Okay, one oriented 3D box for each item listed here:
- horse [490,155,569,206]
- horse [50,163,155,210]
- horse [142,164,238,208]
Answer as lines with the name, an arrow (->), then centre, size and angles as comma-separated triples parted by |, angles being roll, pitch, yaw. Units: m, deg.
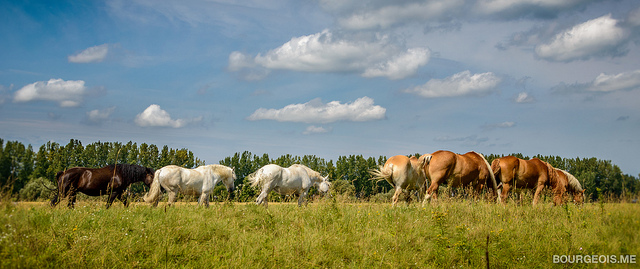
horse -> 19.582, 4.598, 47.916 | 10.845, 4.594, 2.457 | 8, -9, -26
horse -> -19.317, 4.369, 44.267 | 7.383, 2.852, 1.250 | 0, 0, -10
horse -> -11.764, 4.916, 45.578 | 9.070, 4.176, 2.435 | 7, -10, -41
